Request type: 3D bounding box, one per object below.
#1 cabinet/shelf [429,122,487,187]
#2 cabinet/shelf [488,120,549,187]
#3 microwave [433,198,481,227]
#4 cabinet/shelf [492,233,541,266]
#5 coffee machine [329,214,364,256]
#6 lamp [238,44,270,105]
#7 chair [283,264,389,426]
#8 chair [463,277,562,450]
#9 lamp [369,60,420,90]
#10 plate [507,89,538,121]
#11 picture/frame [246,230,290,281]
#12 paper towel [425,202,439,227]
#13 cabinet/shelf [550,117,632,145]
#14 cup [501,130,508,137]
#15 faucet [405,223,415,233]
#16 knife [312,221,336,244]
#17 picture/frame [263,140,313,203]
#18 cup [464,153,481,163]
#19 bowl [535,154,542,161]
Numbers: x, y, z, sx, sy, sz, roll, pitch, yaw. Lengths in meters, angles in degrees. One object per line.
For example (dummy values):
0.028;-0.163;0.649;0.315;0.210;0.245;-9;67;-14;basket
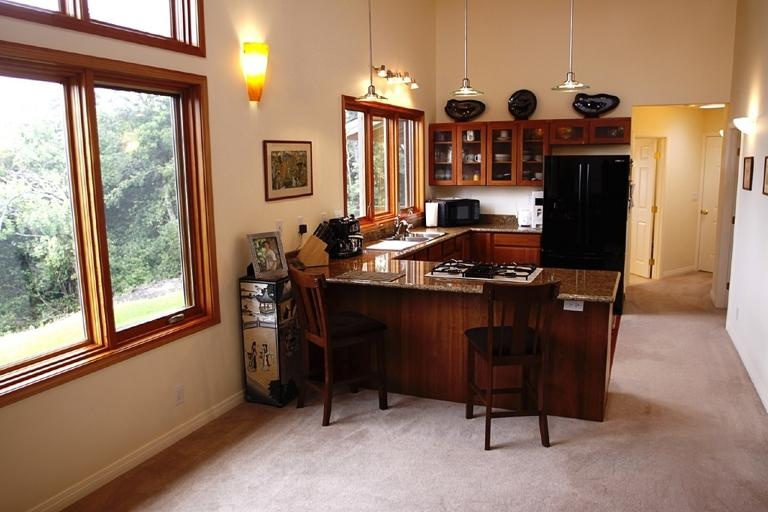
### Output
1.079;-1.503;7.676;0.924;0.869;0.301;1;6;13;cabinet/shelf
1.877;-1.467;7.390;1.049;0.994;0.336;1;4;22;cabinet/shelf
1.053;-0.624;7.551;0.575;0.388;0.399;-4;7;-34;microwave
1.833;-0.084;7.420;0.628;0.594;0.415;0;-3;24;cabinet/shelf
-0.377;-0.215;5.531;0.390;0.483;0.371;0;8;14;coffee machine
-1.113;-1.585;4.581;0.206;0.504;0.091;-1;15;-1;lamp
-0.398;0.703;4.573;0.734;1.203;0.766;4;8;34;chair
0.967;0.752;4.181;0.665;1.253;0.780;1;15;5;chair
0.138;-2.203;6.548;0.253;0.233;0.775;10;12;44;lamp
1.929;-2.120;7.438;0.401;0.396;0.158;3;15;13;plate
-0.981;-0.025;4.665;0.345;0.393;0.209;-6;18;19;picture/frame
0.668;-0.603;7.539;0.178;0.344;0.181;-7;16;-25;paper towel
2.715;-1.678;7.107;1.028;0.332;0.131;5;16;19;cabinet/shelf
1.673;-1.716;7.461;0.090;0.065;0.089;0;12;0;cup
0.319;-0.376;7.023;0.081;0.107;0.114;0;-3;30;faucet
-0.579;-0.230;5.225;0.160;0.223;0.074;4;-7;21;knife
-0.908;-0.823;5.097;0.039;0.621;0.832;7;12;22;picture/frame
1.243;-1.420;7.624;0.185;0.087;0.110;-1;6;5;cup
2.125;-1.364;7.387;0.079;0.057;0.076;1;6;0;bowl
